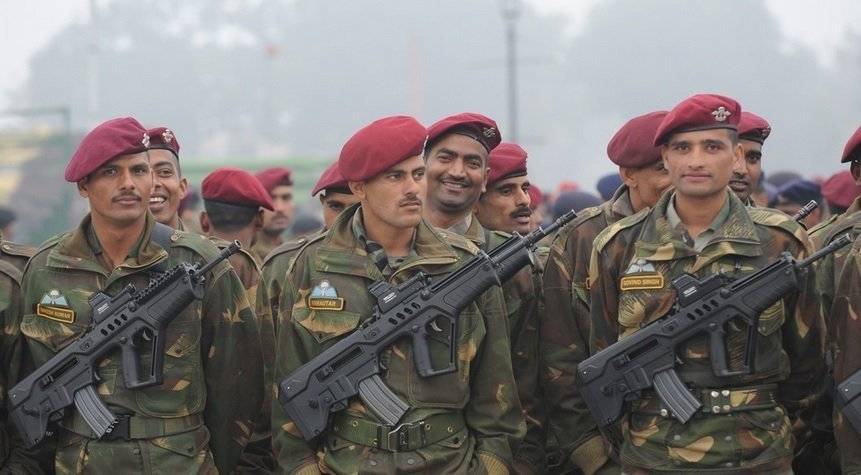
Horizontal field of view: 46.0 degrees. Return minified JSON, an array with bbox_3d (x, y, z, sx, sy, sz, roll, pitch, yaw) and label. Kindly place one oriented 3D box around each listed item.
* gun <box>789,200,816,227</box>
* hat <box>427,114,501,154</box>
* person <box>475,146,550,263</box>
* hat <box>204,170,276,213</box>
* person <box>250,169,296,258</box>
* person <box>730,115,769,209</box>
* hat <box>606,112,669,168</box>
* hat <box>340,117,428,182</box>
[{"bbox_3d":[6.042,-0.399,16.431,0.604,0.136,0.120,-44,-22,15],"label":"gun"},{"bbox_3d":[0.466,-1.531,15.307,0.709,0.283,0.721,-12,-20,42],"label":"hat"},{"bbox_3d":[1.245,-0.667,16.042,0.922,2.033,1.392,2,2,7],"label":"person"},{"bbox_3d":[-3.147,-0.784,16.514,0.901,0.411,0.702,12,1,-20],"label":"hat"},{"bbox_3d":[-2.739,-0.467,17.760,0.766,1.580,0.614,5,-1,-1],"label":"person"},{"bbox_3d":[4.879,-1.232,15.366,0.552,1.904,0.581,2,1,14],"label":"person"},{"bbox_3d":[3.097,-1.406,15.201,0.717,1.071,0.577,2,-4,-6],"label":"hat"},{"bbox_3d":[-0.660,-1.255,14.080,1.028,0.385,0.890,-30,8,18],"label":"hat"}]
